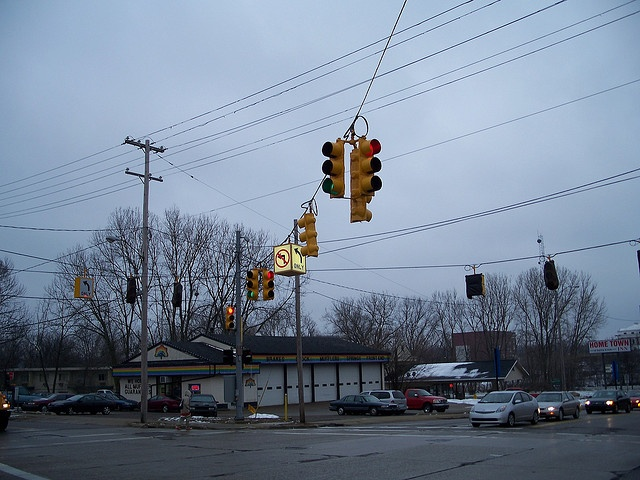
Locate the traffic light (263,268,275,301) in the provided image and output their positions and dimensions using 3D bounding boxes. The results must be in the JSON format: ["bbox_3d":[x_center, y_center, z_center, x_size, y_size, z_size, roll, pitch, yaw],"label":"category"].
[{"bbox_3d":[-2.837,2.316,37.884,0.603,1.612,1.322,0,-14,-5],"label":"traffic light"}]

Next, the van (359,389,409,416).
[{"bbox_3d":[4.575,11.606,50.868,3.052,1.493,1.504,2,-12,32],"label":"van"}]

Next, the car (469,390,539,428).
[{"bbox_3d":[9.944,9.108,37.933,3.864,1.932,1.562,9,-17,-33],"label":"car"}]

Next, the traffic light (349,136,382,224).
[{"bbox_3d":[1.565,-2.171,24.309,0.627,2.983,1.003,9,-11,-39],"label":"traffic light"}]

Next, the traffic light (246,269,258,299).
[{"bbox_3d":[-3.687,2.314,38.289,0.612,1.651,1.066,0,-13,-4],"label":"traffic light"}]

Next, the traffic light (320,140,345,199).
[{"bbox_3d":[0.458,-2.564,24.401,0.754,2.176,0.618,-1,-13,-1],"label":"traffic light"}]

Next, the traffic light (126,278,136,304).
[{"bbox_3d":[-11.197,2.890,41.643,0.553,1.472,0.836,2,-14,-12],"label":"traffic light"}]

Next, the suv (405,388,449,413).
[{"bbox_3d":[8.056,12.302,53.670,1.806,1.900,3.411,7,-17,-29],"label":"suv"}]

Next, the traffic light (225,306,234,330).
[{"bbox_3d":[-5.178,4.412,40.297,0.460,1.389,1.404,0,-14,-4],"label":"traffic light"}]

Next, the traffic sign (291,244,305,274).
[{"bbox_3d":[-1.184,0.925,35.374,0.471,1.633,1.292,-2,-7,11],"label":"traffic sign"}]
